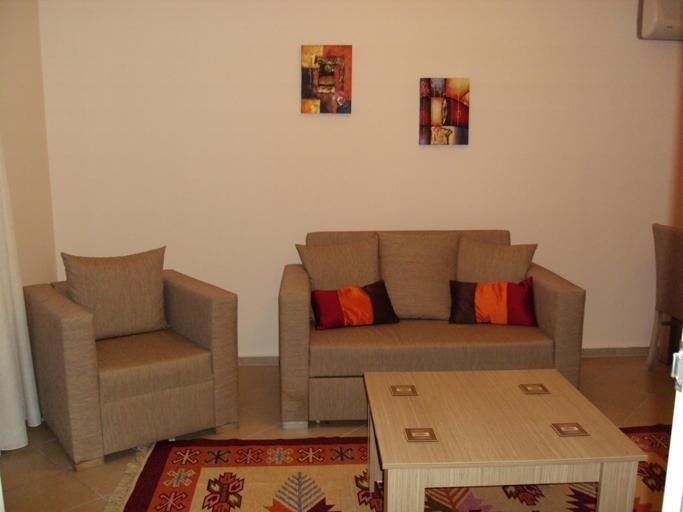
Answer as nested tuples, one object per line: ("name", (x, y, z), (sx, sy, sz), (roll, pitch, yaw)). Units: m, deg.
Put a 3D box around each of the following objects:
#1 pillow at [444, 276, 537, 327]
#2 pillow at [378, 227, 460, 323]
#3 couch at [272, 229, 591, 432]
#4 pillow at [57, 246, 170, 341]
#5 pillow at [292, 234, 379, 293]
("pillow", (1.011, 0.351, 3.869), (0.546, 0.320, 0.162), (-3, -13, 12))
("pillow", (0.548, 0.151, 4.138), (0.638, 0.570, 0.484), (1, -12, -1))
("couch", (0.573, 0.456, 3.943), (1.980, 1.076, 0.934), (-1, 13, -2))
("pillow", (-1.487, 0.271, 3.693), (0.647, 0.588, 0.239), (-5, 14, -36))
("pillow", (-0.001, 0.059, 3.963), (0.529, 0.357, 0.142), (-7, -8, -18))
